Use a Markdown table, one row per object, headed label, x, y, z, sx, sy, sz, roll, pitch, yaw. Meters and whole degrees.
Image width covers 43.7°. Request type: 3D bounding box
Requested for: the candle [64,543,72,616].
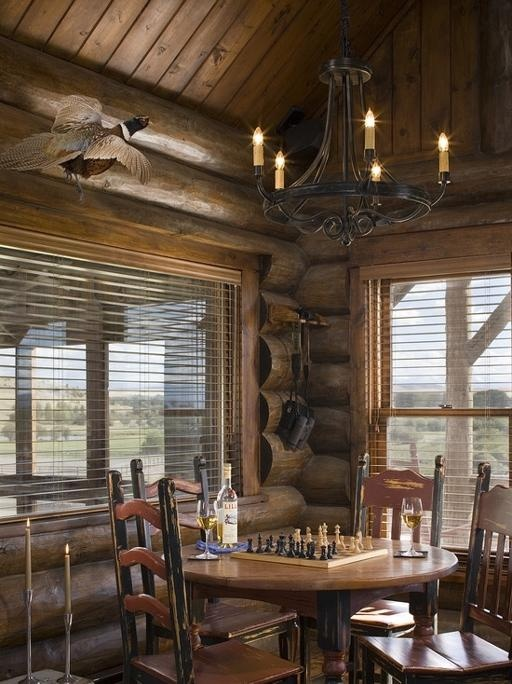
| label | x | y | z | sx | sy | sz | roll | pitch | yaw |
| --- | --- | --- | --- | --- | --- | --- | --- | --- | --- |
| candle | -0.618 | 0.764 | 2.090 | 0.018 | 0.225 | 0.183 | -1 | -3 | -18 |
